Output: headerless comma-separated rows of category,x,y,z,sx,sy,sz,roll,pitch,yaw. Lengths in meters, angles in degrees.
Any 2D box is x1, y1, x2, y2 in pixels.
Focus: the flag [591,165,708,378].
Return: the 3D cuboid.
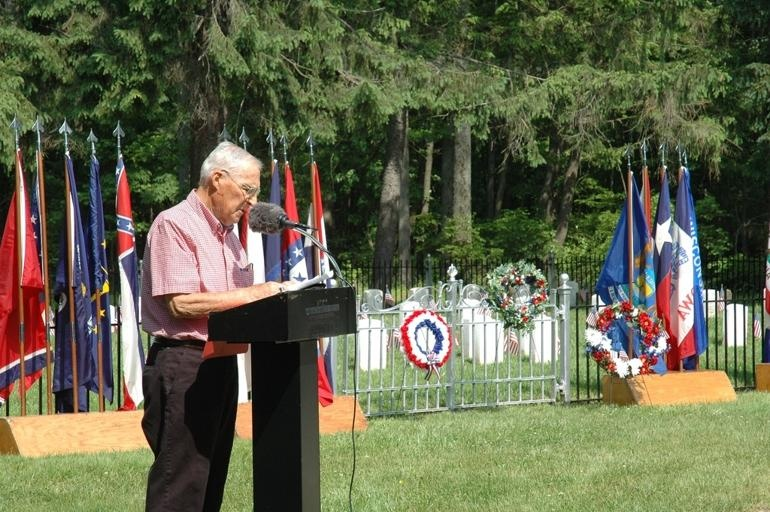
flag,6.190,0.310,40.699,2.281,5.128,1.910,4,-1,-26
